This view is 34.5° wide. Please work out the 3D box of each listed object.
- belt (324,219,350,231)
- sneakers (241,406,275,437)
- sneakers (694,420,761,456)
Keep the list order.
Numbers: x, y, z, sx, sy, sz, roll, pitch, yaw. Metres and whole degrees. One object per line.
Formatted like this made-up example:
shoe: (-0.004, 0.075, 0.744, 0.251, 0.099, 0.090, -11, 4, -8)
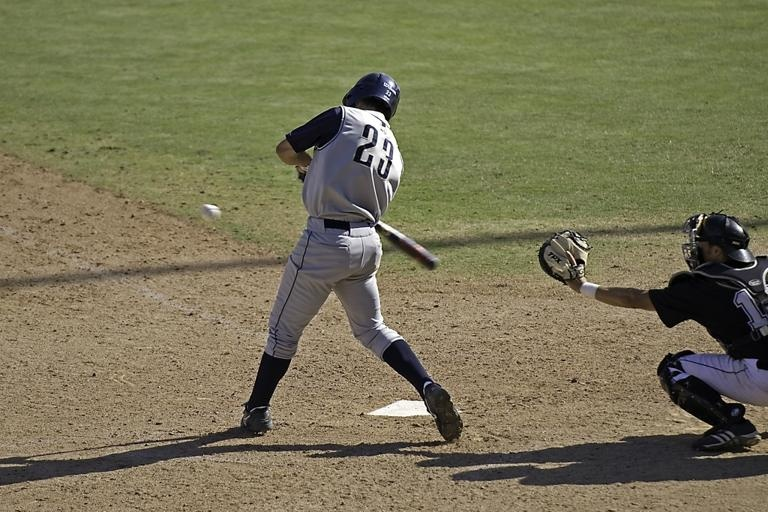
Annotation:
belt: (-0.393, -0.257, 10.266, 0.163, 0.071, 0.127, 1, 1, 8)
sneakers: (-1.074, 1.392, 10.596, 0.202, 0.137, 0.351, -3, 9, -18)
sneakers: (2.700, 1.497, 10.226, 0.702, 0.207, 0.198, -4, -7, -7)
